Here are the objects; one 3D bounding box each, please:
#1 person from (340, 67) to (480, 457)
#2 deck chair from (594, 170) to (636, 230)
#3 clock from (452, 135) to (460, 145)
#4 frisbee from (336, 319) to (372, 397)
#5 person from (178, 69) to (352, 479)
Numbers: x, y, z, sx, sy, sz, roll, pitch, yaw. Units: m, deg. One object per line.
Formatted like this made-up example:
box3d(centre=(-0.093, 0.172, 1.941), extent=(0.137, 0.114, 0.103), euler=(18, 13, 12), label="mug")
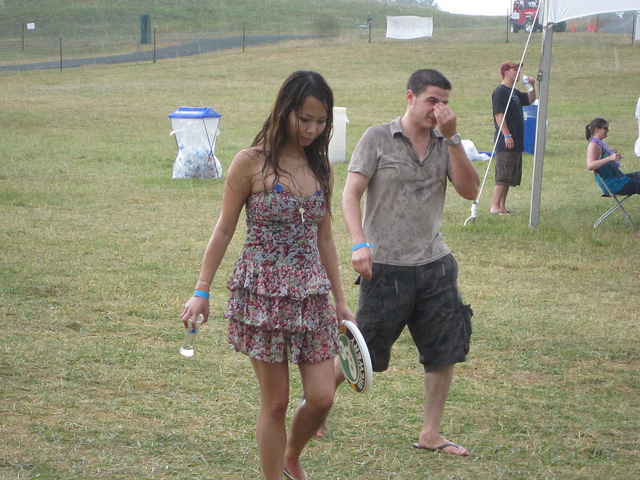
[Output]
box3d(centre=(0.830, 0.203, 9.240), extent=(1.186, 3.433, 0.816), euler=(2, 14, 10), label="person")
box3d(centre=(4.409, -0.530, 14.932), extent=(0.629, 1.008, 0.642), euler=(3, 21, 0), label="deck chair")
box3d(centre=(1.233, -0.909, 9.104), extent=(0.078, 0.066, 0.020), euler=(-2, 0, -19), label="clock")
box3d(centre=(0.299, 1.005, 8.918), extent=(0.090, 0.620, 0.647), euler=(-13, -18, -21), label="frisbee")
box3d(centre=(-0.352, 0.352, 8.590), extent=(1.274, 3.498, 0.856), euler=(-7, 15, -25), label="person")
